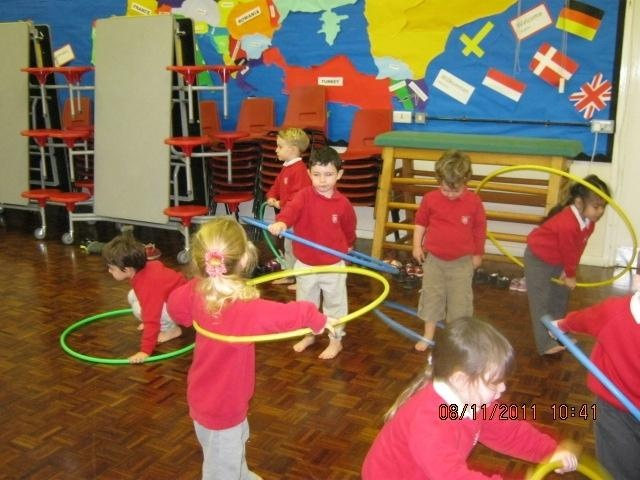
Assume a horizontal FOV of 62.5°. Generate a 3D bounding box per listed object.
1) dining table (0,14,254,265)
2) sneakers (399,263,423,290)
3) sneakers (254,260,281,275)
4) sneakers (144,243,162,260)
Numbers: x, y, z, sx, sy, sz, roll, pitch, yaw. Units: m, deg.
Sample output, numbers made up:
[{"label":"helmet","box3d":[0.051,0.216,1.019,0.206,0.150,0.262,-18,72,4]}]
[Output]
[{"label":"dining table","box3d":[-1.627,-1.212,6.253,2.912,2.447,2.147,3,7,20]},{"label":"sneakers","box3d":[0.802,0.313,4.621,0.167,0.077,0.203,2,38,0]},{"label":"sneakers","box3d":[-0.479,0.252,4.832,0.174,0.052,0.121,-10,11,-35]},{"label":"sneakers","box3d":[-1.569,0.115,4.993,0.127,0.138,0.349,1,8,-3]}]
